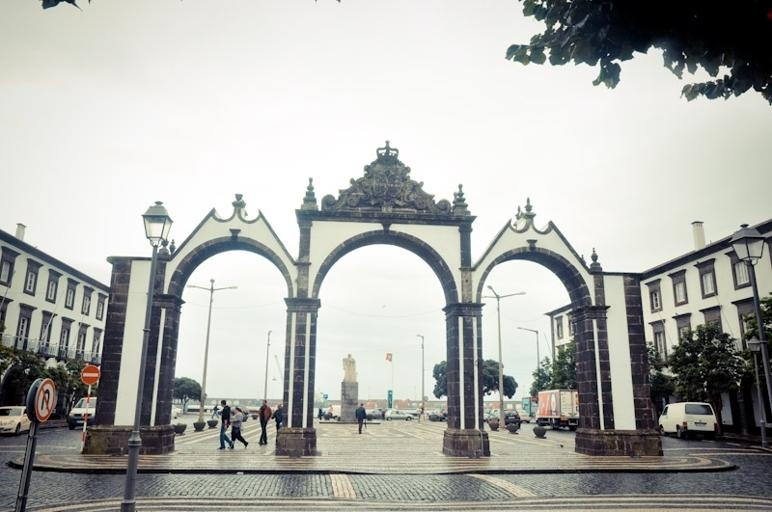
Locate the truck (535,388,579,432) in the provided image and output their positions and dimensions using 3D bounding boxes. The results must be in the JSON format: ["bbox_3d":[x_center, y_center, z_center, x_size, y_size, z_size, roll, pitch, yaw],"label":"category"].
[{"bbox_3d":[13.254,11.718,45.641,2.932,3.319,6.330,2,-12,-3],"label":"truck"}]

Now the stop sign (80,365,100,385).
[{"bbox_3d":[-10.809,4.336,22.029,0.494,0.637,0.859,6,-19,-20],"label":"stop sign"}]

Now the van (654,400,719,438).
[{"bbox_3d":[17.479,9.458,34.772,1.879,1.461,2.971,0,-16,2],"label":"van"}]

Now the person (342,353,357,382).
[{"bbox_3d":[-2.869,8.995,48.184,0.946,2.000,1.241,3,-18,-10],"label":"person"}]

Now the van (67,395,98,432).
[{"bbox_3d":[-19.636,10.194,39.726,1.692,1.785,3.650,4,-9,-13],"label":"van"}]
